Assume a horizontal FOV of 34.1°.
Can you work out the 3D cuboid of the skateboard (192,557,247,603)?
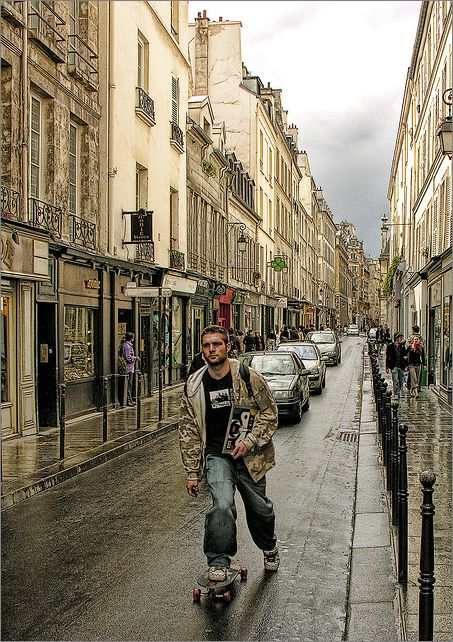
[{"bbox_3d":[-0.045,1.618,4.609,0.313,0.112,0.594,-5,-3,7],"label":"skateboard"}]

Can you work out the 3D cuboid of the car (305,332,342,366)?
[{"bbox_3d":[4.621,1.180,33.376,0.979,1.333,2.446,-2,-5,9],"label":"car"}]

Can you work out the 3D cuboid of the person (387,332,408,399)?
[{"bbox_3d":[4.148,1.046,17.819,0.500,1.032,1.591,-3,-2,15],"label":"person"}]

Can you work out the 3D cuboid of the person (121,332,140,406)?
[{"bbox_3d":[-2.177,1.075,16.454,0.373,1.593,0.854,-2,-2,-10],"label":"person"}]

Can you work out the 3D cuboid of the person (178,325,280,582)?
[{"bbox_3d":[0.036,0.857,4.723,0.660,1.661,0.520,-2,-2,-13],"label":"person"}]

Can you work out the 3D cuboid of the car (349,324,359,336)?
[{"bbox_3d":[15.704,1.153,90.438,0.749,1.230,2.132,1,10,10],"label":"car"}]
